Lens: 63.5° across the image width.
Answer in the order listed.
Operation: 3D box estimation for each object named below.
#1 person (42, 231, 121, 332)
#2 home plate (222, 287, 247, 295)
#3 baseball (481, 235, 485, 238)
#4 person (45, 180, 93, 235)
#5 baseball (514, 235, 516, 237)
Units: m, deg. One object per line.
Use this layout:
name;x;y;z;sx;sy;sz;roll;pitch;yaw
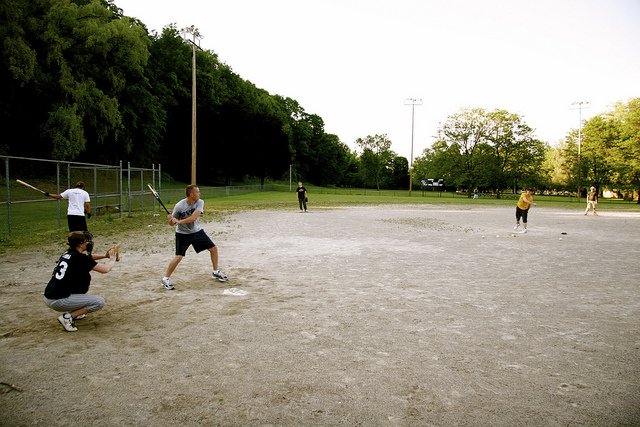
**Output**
person;-4.872;1.373;10.739;1.192;1.876;1.584;3;5;13
home plate;-2.032;1.834;12.284;0.511;0.053;0.486;0;4;-8
baseball;6.515;0.913;20.664;0.084;0.076;0.084;2;5;33
person;-7.589;-0.205;16.069;0.728;1.530;0.666;-2;6;-31
baseball;7.941;0.884;21.078;0.064;0.057;0.063;1;2;11
